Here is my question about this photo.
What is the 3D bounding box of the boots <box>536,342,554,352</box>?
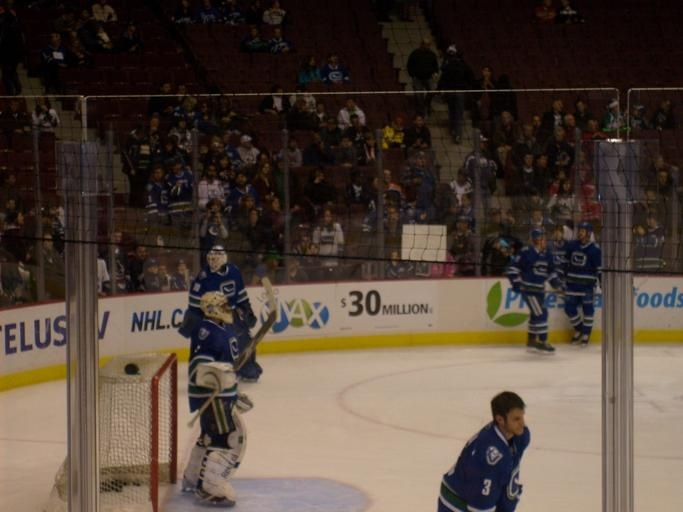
[{"bbox_3d":[3.021,1.345,18.386,0.271,0.132,0.111,10,12,15],"label":"boots"}]

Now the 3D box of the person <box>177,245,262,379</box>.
[{"bbox_3d":[-1.595,0.700,16.373,0.950,2.137,0.640,-9,31,-8],"label":"person"}]

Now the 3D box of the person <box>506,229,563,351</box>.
[{"bbox_3d":[2.924,0.487,18.594,0.734,1.692,0.772,4,13,22],"label":"person"}]

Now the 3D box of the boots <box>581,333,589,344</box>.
[{"bbox_3d":[3.693,1.240,18.732,0.114,0.168,0.380,1,2,10],"label":"boots"}]

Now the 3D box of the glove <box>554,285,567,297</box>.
[{"bbox_3d":[3.355,0.534,18.943,0.149,0.173,0.042,3,0,33],"label":"glove"}]

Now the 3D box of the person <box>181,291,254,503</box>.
[{"bbox_3d":[-1.395,1.519,13.210,0.677,2.136,0.840,-2,12,-9],"label":"person"}]

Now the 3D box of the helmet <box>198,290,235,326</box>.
[{"bbox_3d":[-1.380,0.560,13.434,0.318,0.392,0.269,-4,9,-4],"label":"helmet"}]

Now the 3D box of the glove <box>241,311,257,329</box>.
[{"bbox_3d":[-1.209,0.818,16.166,0.128,0.243,0.103,-40,-18,22],"label":"glove"}]

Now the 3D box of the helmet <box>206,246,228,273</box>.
[{"bbox_3d":[-1.625,0.042,15.972,0.236,0.373,0.409,-2,12,-10],"label":"helmet"}]
